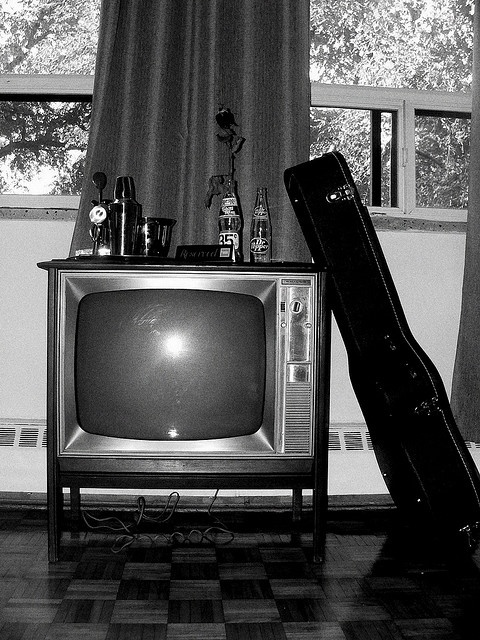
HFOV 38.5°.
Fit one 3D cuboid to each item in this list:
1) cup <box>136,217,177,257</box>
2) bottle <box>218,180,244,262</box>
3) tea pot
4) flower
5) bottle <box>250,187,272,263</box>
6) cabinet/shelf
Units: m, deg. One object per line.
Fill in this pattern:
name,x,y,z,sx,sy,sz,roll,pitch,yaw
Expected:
cup,-0.221,-0.221,1.793,0.080,0.094,0.102,4,-2,-1
bottle,-0.023,-0.272,1.833,0.063,0.227,0.192,1,3,0
tea pot,-0.317,-0.267,1.762,0.118,0.260,0.197,0,6,-28
flower,-0.046,-0.465,2.000,0.091,0.332,0.085,-5,-25,15
bottle,0.058,-0.269,1.921,0.055,0.210,0.165,1,3,0
cabinet/shelf,-0.126,0.173,1.764,0.647,0.940,0.560,0,0,-2
